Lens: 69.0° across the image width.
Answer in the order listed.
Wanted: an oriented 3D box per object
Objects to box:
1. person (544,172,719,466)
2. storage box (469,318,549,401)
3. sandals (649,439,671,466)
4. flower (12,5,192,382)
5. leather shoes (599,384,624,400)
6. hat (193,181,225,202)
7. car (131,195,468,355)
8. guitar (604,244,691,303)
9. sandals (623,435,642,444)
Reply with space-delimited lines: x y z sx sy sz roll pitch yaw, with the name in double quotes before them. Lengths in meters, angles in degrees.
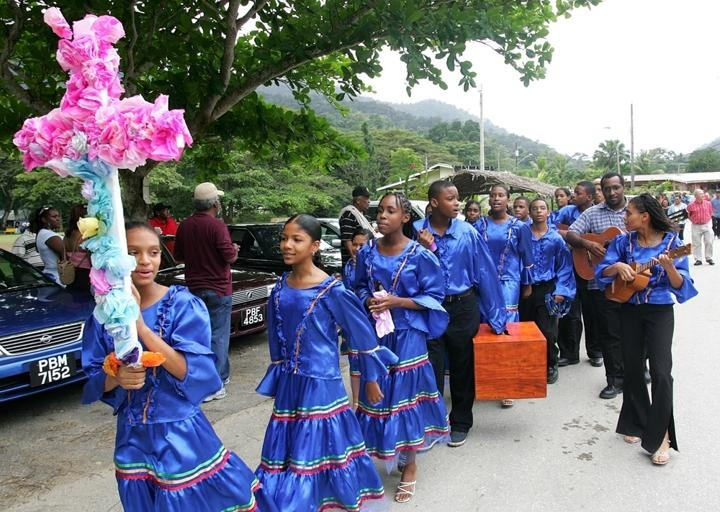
"person" 2.428 0.558 4.392 0.495 2.149 0.907 -3 12 -6
"storage box" 1.332 0.939 4.767 0.716 0.440 0.668 -1 1 5
"sandals" 2.416 1.597 4.213 0.111 0.094 0.279 -7 -10 32
"flower" -1.151 -0.271 2.425 0.803 1.698 0.322 -3 13 -5
"leather shoes" 2.634 1.433 5.505 0.346 0.122 0.123 8 -15 -38
"hat" -1.595 -0.682 5.586 0.232 0.146 0.303 6 26 15
"car" -0.557 0.101 7.020 4.117 1.356 1.959 -10 -4 32
"guitar" 2.387 0.144 4.327 0.078 0.210 0.566 29 -33 -22
"sandals" 2.367 1.597 4.540 0.055 0.042 0.129 0 -8 4
